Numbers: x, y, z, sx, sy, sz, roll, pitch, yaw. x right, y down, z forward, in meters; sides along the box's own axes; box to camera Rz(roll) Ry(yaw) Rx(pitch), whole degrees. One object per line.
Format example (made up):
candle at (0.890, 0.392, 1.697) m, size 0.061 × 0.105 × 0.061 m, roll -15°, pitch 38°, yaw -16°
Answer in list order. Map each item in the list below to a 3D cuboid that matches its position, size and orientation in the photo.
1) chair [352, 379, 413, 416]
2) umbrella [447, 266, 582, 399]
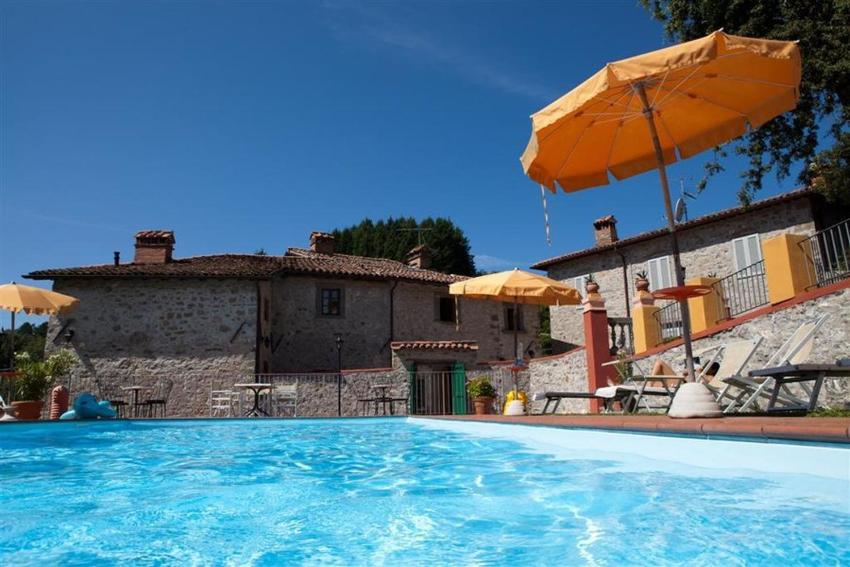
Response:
chair at (-1.234, 3.736, 19.957) m, size 1.399 × 0.617 × 1.361 m, roll 9°, pitch -13°, yaw -42°
umbrella at (2.534, 1.207, 15.317) m, size 3.592 × 3.046 × 3.197 m, roll 1°, pitch -11°, yaw -2°
